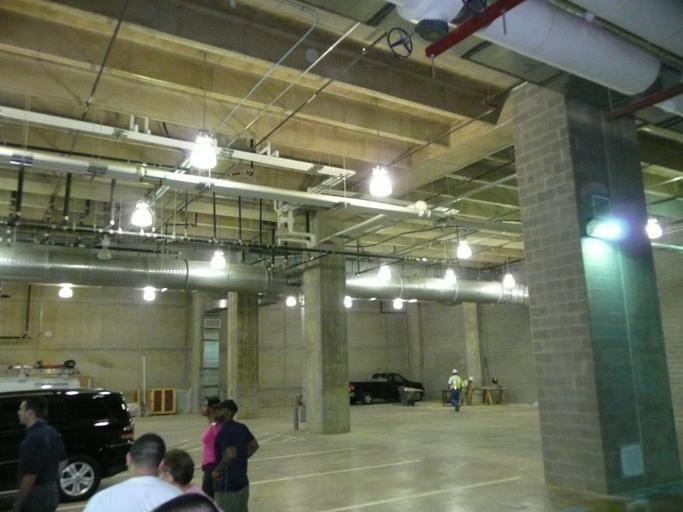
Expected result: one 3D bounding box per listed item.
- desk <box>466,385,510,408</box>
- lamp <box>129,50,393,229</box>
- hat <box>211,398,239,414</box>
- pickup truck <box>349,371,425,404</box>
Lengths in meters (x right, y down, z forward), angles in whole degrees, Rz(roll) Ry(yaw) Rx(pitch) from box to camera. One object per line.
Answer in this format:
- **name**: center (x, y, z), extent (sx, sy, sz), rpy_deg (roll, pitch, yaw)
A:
- **desk**: center (6.657, 6.331, 29.207), extent (1.787, 0.858, 0.891), rpy_deg (-4, -12, 9)
- **lamp**: center (-1.615, -2.516, 12.679), extent (2.009, 1.776, 5.790), rpy_deg (9, -16, -44)
- **hat**: center (-1.586, 1.960, 8.404), extent (0.392, 0.139, 0.258), rpy_deg (3, -15, 16)
- **pickup truck**: center (2.212, 6.698, 32.305), extent (3.859, 1.273, 1.690), rpy_deg (1, -6, -28)
